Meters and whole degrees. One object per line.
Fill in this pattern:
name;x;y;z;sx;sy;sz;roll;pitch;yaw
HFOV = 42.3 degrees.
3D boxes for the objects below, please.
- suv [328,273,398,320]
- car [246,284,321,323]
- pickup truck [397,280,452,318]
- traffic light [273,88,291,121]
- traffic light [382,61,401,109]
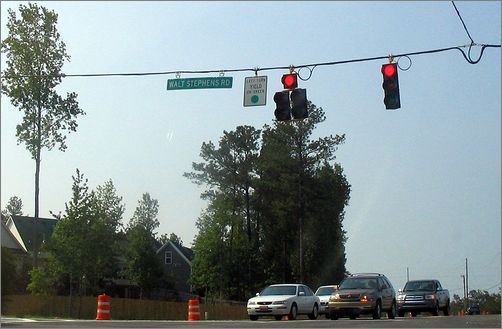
suv;7.902;9.270;45.803;4.714;3.352;2.543;2;-15;-3
car;2.356;9.985;46.932;5.191;2.697;2.549;3;-16;-8
pickup truck;14.802;11.372;54.593;3.096;3.464;7.177;-9;-15;30
traffic light;2.024;-3.734;40.446;1.059;1.845;0.796;10;-17;-31
traffic light;8.619;-4.940;39.637;0.969;2.963;0.498;-2;-14;12
